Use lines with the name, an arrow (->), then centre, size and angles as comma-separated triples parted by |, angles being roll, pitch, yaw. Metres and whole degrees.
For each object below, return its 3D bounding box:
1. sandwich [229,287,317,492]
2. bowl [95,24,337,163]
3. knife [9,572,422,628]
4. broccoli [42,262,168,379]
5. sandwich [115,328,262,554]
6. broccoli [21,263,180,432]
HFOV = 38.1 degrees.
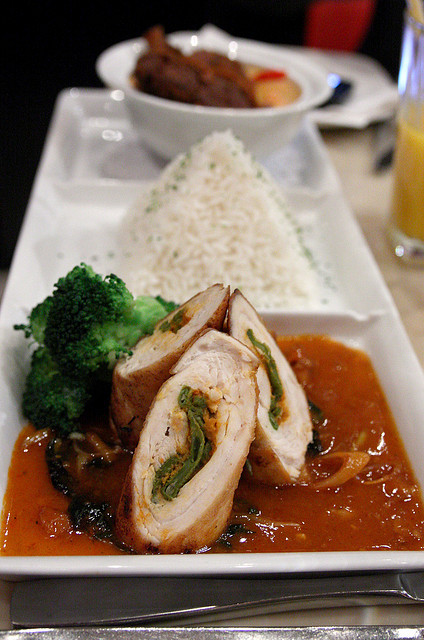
sandwich -> 0.141, 0.145, 1.239 | 0.122, 0.309, 0.340 | -20, 44, 26
bowl -> 0.005, -0.859, 2.272 | 0.838, 0.357, 0.849 | -1, 52, 1
knife -> -0.020, 0.435, 0.952 | 0.702, 0.027, 0.067 | -2, 9, -5
broccoli -> -0.227, 0.003, 1.265 | 0.223, 0.156, 0.191 | 1, 53, 2
sandwich -> -0.006, 0.210, 1.117 | 0.207, 0.126, 0.388 | 15, 69, 15
broccoli -> -0.198, -0.004, 1.320 | 0.294, 0.127, 0.334 | 18, 42, -23
